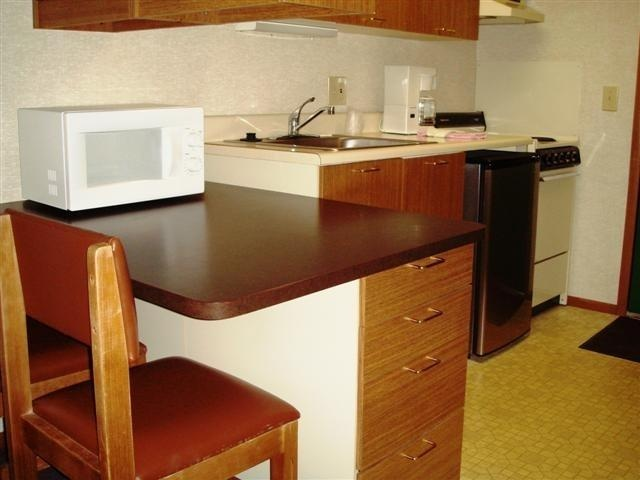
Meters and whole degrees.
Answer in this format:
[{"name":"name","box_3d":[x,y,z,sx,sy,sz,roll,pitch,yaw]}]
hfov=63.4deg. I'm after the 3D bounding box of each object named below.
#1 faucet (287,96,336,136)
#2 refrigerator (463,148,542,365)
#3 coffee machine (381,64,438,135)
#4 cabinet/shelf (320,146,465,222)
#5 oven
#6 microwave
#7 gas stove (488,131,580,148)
[{"name":"faucet","box_3d":[-0.029,-0.641,2.801,0.216,0.251,0.233,16,19,40]},{"name":"refrigerator","box_3d":[1.058,0.080,2.989,0.567,1.115,0.226,-10,16,-26]},{"name":"coffee machine","box_3d":[0.546,-0.866,3.253,0.243,0.444,0.299,11,10,15]},{"name":"cabinet/shelf","box_3d":[0.381,-0.277,2.539,0.660,0.422,0.371,-8,11,-42]},{"name":"oven","box_3d":[1.570,-0.120,3.446,0.353,1.075,0.384,13,18,36]},{"name":"microwave","box_3d":[-0.787,-0.353,1.907,0.452,0.419,0.561,17,19,38]},{"name":"gas stove","box_3d":[1.433,-0.675,3.532,0.463,0.124,0.856,9,18,38]}]
